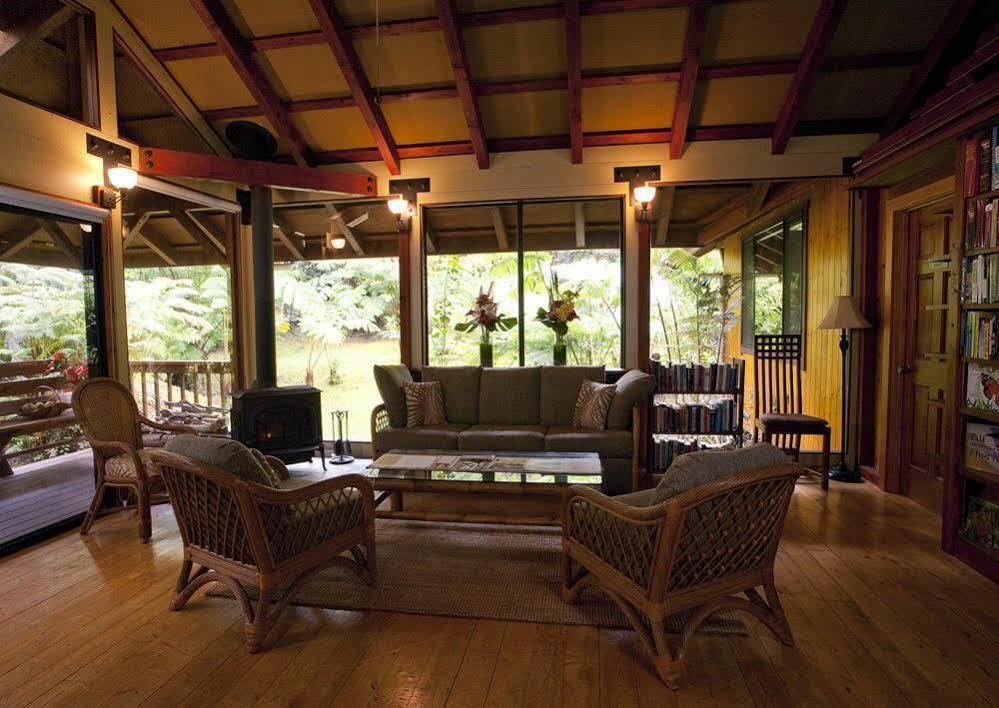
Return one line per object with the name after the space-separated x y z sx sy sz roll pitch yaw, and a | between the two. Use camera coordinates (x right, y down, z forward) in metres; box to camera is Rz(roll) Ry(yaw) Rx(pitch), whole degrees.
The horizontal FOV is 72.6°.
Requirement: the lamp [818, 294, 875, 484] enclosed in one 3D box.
3.155 0.335 6.175 0.396 1.699 0.543 0 2 29 | lamp

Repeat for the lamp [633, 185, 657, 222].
1.375 -1.450 6.496 0.275 0.410 0.334 1 7 8 | lamp

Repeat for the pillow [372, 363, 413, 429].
-1.019 0.413 6.436 0.281 0.456 0.578 5 7 13 | pillow

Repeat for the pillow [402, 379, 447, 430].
-0.728 0.507 6.380 0.437 0.426 0.173 5 -21 -28 | pillow

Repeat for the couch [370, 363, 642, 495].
0.102 0.680 6.324 2.713 1.102 0.807 -1 7 13 | couch

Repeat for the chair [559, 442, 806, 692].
1.090 1.178 4.249 1.043 1.141 1.341 -6 7 -23 | chair

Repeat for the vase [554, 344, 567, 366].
0.582 0.018 6.685 0.131 0.220 0.341 -1 1 5 | vase

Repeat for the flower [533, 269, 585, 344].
0.567 -0.471 6.785 0.456 0.742 0.495 -1 2 6 | flower

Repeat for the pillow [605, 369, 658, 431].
1.241 0.454 6.021 0.156 0.470 0.511 24 -13 -26 | pillow

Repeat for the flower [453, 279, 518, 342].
-0.145 -0.415 6.875 0.611 0.552 0.592 1 -2 1 | flower

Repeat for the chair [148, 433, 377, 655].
-1.485 1.129 4.489 1.068 1.057 1.256 3 5 17 | chair

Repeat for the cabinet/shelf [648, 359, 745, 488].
1.841 0.750 6.562 0.946 1.380 0.506 -1 6 0 | cabinet/shelf
